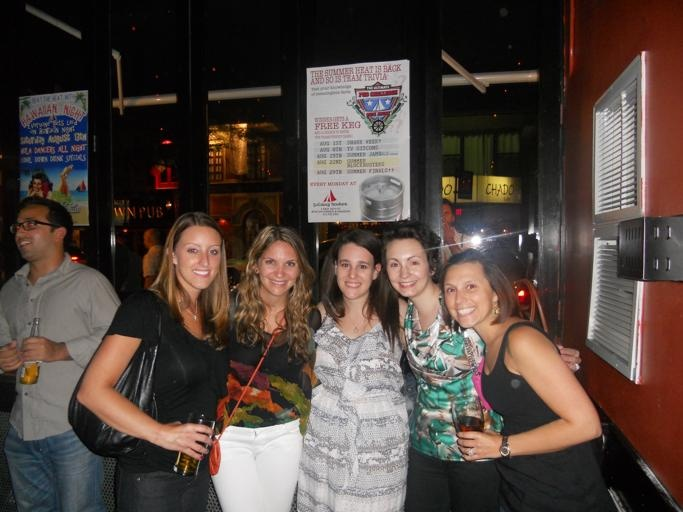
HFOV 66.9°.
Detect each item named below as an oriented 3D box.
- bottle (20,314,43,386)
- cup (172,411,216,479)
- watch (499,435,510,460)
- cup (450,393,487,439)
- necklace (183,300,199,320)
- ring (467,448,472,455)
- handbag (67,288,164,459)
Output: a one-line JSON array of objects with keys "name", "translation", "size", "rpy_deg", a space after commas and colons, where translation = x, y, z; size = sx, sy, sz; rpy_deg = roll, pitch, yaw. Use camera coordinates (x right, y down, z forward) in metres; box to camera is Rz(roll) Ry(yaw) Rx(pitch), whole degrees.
[{"name": "bottle", "translation": [-2.148, 0.657, 3.547], "size": [0.127, 0.454, 0.240], "rpy_deg": [-2, 2, -32]}, {"name": "cup", "translation": [-0.844, 1.101, 2.997], "size": [0.200, 0.353, 0.186], "rpy_deg": [-1, 2, 0]}, {"name": "watch", "translation": [0.913, 1.066, 2.872], "size": [0.057, 0.107, 0.096], "rpy_deg": [2, 1, 12]}, {"name": "cup", "translation": [0.753, 0.961, 3.137], "size": [0.196, 0.247, 0.212], "rpy_deg": [-1, -16, 0]}, {"name": "necklace", "translation": [-0.947, 0.347, 3.266], "size": [0.028, 0.099, 0.068], "rpy_deg": [-10, -13, 36]}, {"name": "ring", "translation": [0.740, 1.119, 2.957], "size": [0.028, 0.030, 0.007], "rpy_deg": [-18, -24, 36]}, {"name": "handbag", "translation": [-1.284, 0.709, 2.956], "size": [0.514, 0.940, 0.248], "rpy_deg": [-2, 2, -30]}]
